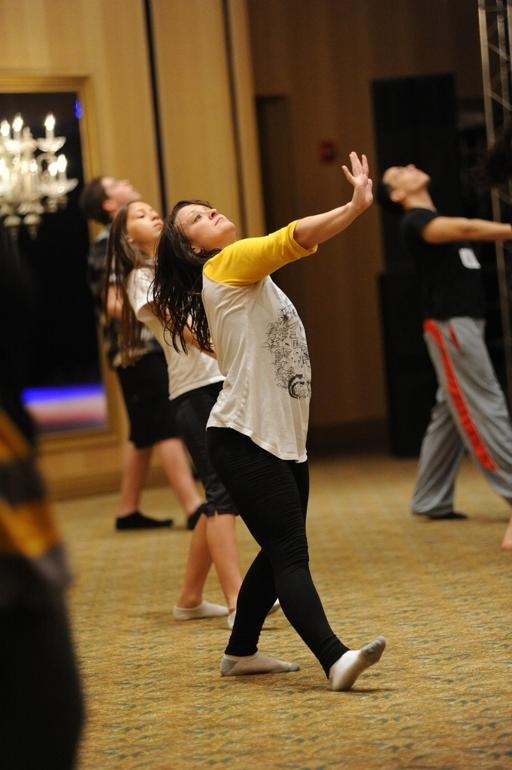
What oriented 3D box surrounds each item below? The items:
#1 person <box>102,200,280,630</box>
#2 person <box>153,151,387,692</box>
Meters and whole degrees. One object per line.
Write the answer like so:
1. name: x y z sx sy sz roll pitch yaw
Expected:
1. person: -0.187 -0.018 1.986 0.357 0.975 0.301 7 25 -4
2. person: 0.033 0.088 1.225 0.235 0.832 0.574 -6 -2 -29
